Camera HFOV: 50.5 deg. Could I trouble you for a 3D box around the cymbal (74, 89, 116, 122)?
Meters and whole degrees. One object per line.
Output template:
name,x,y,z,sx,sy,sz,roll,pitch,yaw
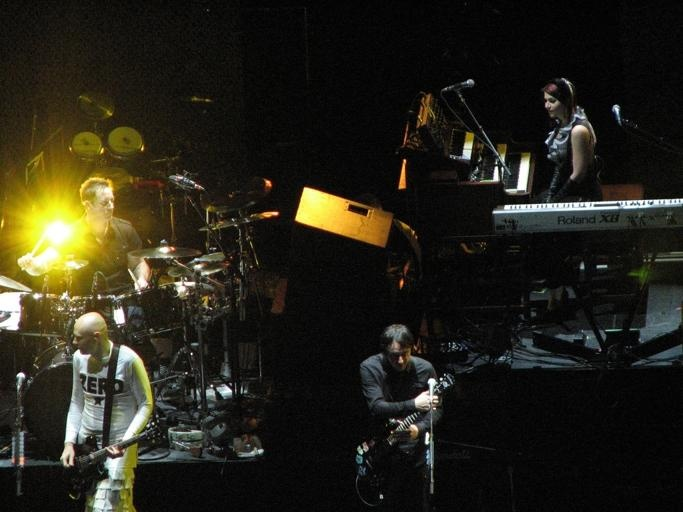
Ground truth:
cymbal,-2.612,-1.606,7.731,0.374,0.119,0.549,1,-11,-15

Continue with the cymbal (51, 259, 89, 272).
cymbal,-2.722,0.117,7.234,0.208,0.045,0.204,9,19,19

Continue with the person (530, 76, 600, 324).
person,2.218,-0.652,7.034,0.608,2.318,0.977,-5,-11,15

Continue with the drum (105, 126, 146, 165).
drum,-2.454,-1.307,8.299,0.466,0.328,0.275,-9,-13,32

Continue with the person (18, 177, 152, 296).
person,-2.497,-0.250,7.689,0.898,1.306,0.381,2,-11,-21

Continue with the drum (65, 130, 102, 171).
drum,-2.947,-1.240,8.359,0.383,0.327,0.363,1,-11,-19

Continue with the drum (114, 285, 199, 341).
drum,-1.822,0.511,7.414,0.751,0.484,0.406,-9,10,8

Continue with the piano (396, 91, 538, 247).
piano,1.800,-1.092,7.954,1.353,1.374,1.947,11,26,31

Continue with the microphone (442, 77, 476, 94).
microphone,1.238,-1.670,7.208,0.186,0.160,0.584,4,8,34

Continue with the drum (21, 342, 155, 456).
drum,-2.578,1.372,7.265,0.883,0.821,0.863,0,6,-5
